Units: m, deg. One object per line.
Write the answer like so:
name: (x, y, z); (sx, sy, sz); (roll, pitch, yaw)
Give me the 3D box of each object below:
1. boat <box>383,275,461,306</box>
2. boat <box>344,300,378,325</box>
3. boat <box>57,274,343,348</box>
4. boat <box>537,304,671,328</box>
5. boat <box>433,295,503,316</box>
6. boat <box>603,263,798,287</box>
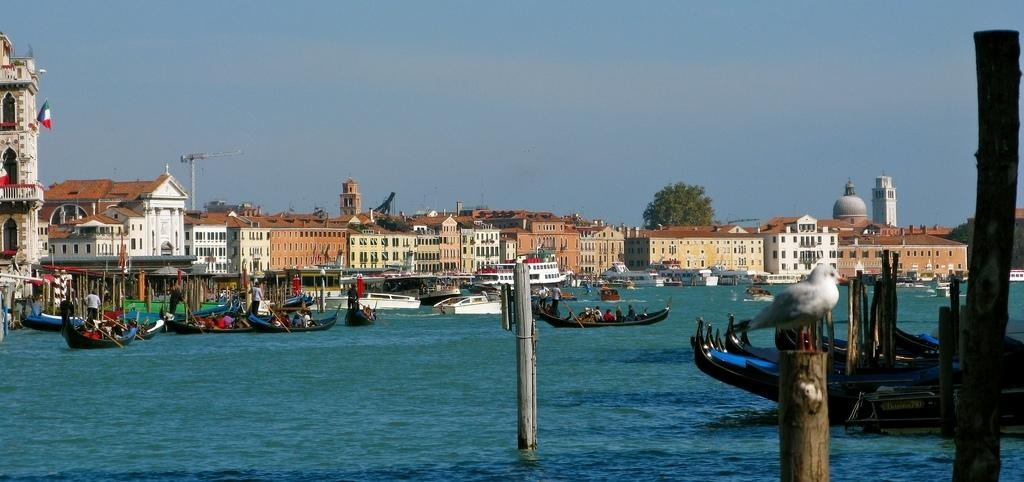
boat: (-7.781, 4.197, 208.562); (2.578, 1.770, 9.536); (3, -3, -42)
boat: (-10.687, 5.091, 160.368); (1.714, 1.818, 2.707); (-1, -3, 17)
boat: (-23.082, 5.012, 152.754); (22.744, 4.194, 11.461); (2, -3, -43)
boat: (5.992, 5.322, 158.137); (8.083, 1.330, 3.238); (1, -2, -13)
boat: (-3.226, 4.987, 173.793); (4.314, 1.090, 2.151); (-1, 1, -17)
boat: (21.411, 4.133, 266.429); (18.818, 2.760, 5.049); (0, 0, 2)
